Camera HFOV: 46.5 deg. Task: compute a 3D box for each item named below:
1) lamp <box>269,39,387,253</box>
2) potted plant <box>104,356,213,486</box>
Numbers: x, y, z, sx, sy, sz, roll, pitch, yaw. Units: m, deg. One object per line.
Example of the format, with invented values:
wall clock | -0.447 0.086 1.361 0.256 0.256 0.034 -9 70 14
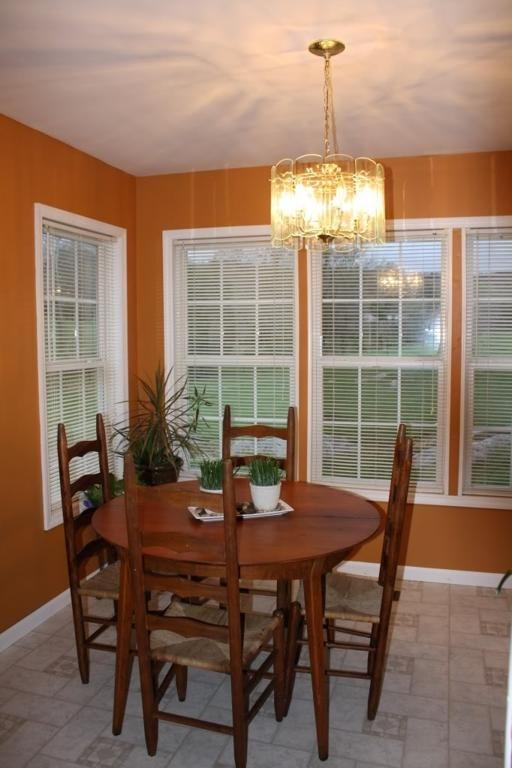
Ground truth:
lamp | 0.319 -0.869 2.487 0.417 0.759 1.153 0 1 11
potted plant | -0.608 0.276 3.826 0.625 0.806 0.715 1 -3 9
